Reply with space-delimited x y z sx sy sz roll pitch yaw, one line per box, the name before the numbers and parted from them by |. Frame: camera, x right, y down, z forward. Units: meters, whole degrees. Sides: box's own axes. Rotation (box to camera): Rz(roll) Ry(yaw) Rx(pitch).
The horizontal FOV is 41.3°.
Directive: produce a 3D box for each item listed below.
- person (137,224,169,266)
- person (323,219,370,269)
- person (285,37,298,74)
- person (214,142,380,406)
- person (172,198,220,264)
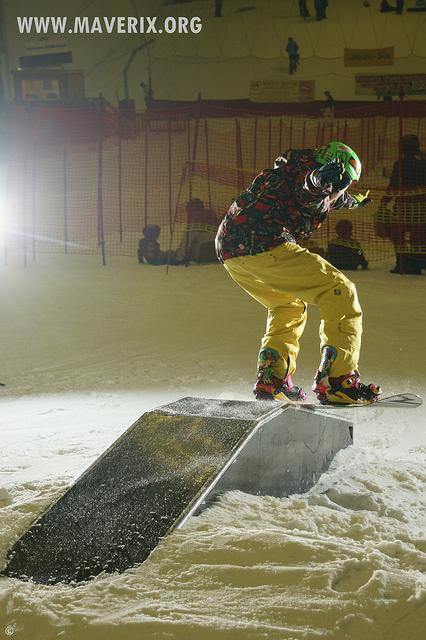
person | -1.126 -1.331 10.336 0.611 0.734 0.430 -2 3 7
person | 2.121 -1.322 9.302 1.031 0.223 0.650 11 22 -32
person | 2.182 -7.288 15.591 0.275 0.889 0.401 -3 3 6
person | 0.462 -0.223 3.027 0.778 1.382 0.407 0 5 44
person | -0.290 -1.529 9.895 0.812 1.109 0.882 -3 3 -4
